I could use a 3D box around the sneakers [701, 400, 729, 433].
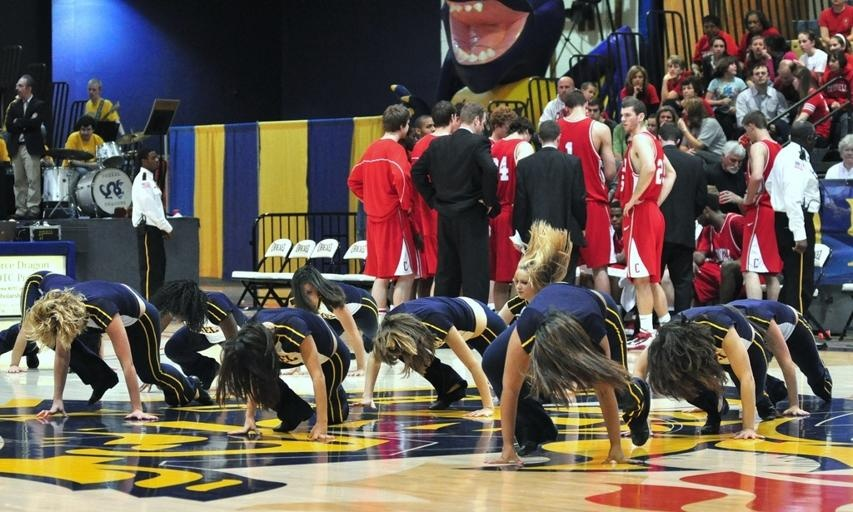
[{"bbox_3d":[2.659,1.503,10.416,0.083,0.290,0.120,7,-24,47],"label":"sneakers"}]

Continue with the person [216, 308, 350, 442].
[{"bbox_3d":[-1.256,1.094,10.530,0.955,1.262,1.487,-3,3,37],"label":"person"}]

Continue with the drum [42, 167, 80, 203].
[{"bbox_3d":[-6.103,-1.171,19.075,0.545,0.621,0.547,2,9,-45],"label":"drum"}]

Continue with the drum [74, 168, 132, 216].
[{"bbox_3d":[-5.027,-1.042,18.012,0.595,0.660,0.480,-10,7,-20],"label":"drum"}]

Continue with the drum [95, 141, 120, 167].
[{"bbox_3d":[-5.202,-1.691,18.482,0.392,0.315,0.409,-8,-32,-5],"label":"drum"}]

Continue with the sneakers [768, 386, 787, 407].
[{"bbox_3d":[3.385,1.362,10.909,0.148,0.183,0.099,-10,29,21],"label":"sneakers"}]

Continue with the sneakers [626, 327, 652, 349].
[{"bbox_3d":[2.417,0.953,12.849,0.190,0.243,0.592,1,1,-4],"label":"sneakers"}]

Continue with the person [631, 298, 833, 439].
[{"bbox_3d":[3.079,1.011,10.486,2.190,1.110,1.005,-5,5,-22],"label":"person"}]

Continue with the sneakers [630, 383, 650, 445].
[{"bbox_3d":[1.881,1.418,9.854,0.172,0.560,0.241,5,0,31],"label":"sneakers"}]

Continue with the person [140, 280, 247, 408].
[{"bbox_3d":[-2.290,0.838,11.405,1.177,1.470,0.761,-10,26,-25],"label":"person"}]

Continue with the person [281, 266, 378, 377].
[{"bbox_3d":[-0.894,0.666,11.850,0.741,1.138,0.979,-7,6,43],"label":"person"}]

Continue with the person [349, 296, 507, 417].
[{"bbox_3d":[0.302,0.951,10.896,1.895,1.204,1.176,-2,-1,-39],"label":"person"}]
